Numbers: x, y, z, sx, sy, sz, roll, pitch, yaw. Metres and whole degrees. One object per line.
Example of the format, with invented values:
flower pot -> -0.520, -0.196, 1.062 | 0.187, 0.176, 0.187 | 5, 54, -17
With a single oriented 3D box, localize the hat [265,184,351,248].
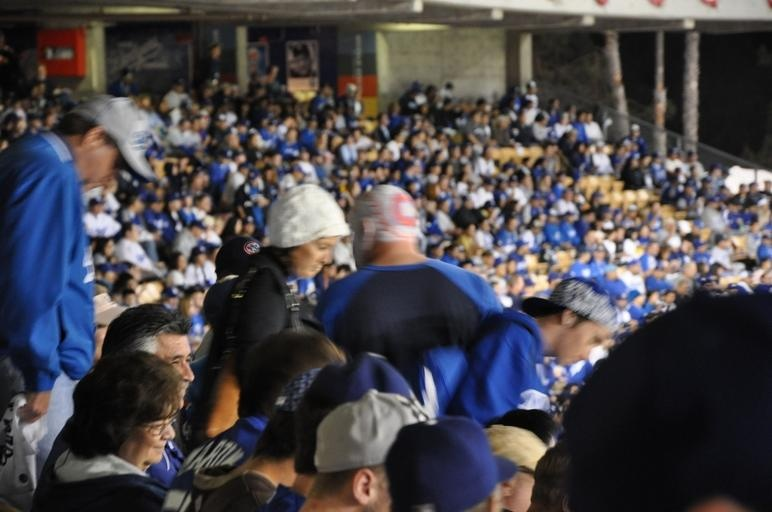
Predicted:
hat -> -1.402, -0.603, 26.258 | 1.308, 1.069, 0.966 | 20, 20, 29

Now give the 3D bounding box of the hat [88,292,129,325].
hat -> -4.800, 0.925, 27.065 | 0.573, 0.371, 0.509 | 15, 37, -15

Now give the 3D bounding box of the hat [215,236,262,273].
hat -> -2.589, 0.018, 27.039 | 0.784, 0.745, 0.543 | 17, 0, -6
